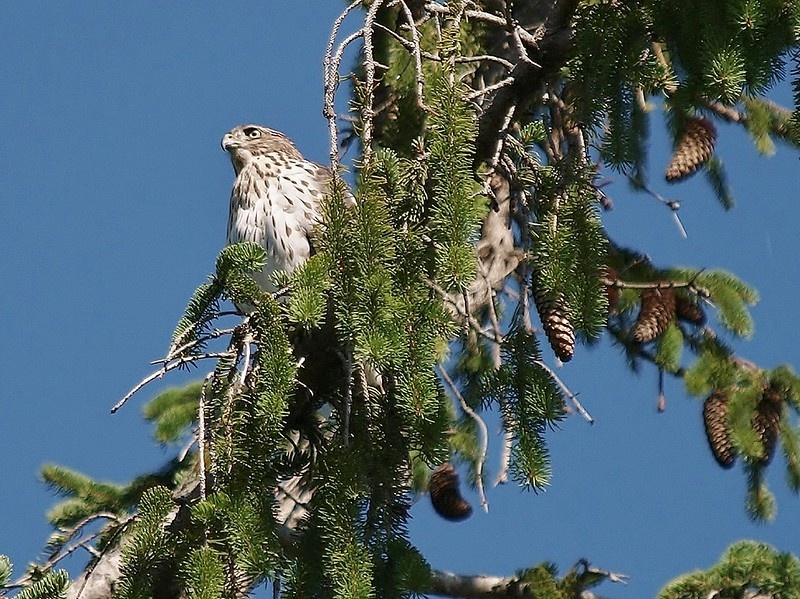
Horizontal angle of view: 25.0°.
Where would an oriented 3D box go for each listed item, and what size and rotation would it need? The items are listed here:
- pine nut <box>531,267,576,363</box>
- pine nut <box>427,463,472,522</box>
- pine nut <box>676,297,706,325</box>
[{"bbox_3d":[0.630,0.075,7.372,0.158,0.425,0.235,-4,-19,3],"label":"pine nut"},{"bbox_3d":[0.253,0.966,8.456,0.159,0.132,0.299,25,-13,22],"label":"pine nut"},{"bbox_3d":[1.364,0.058,8.457,0.135,0.057,0.103,14,-19,48],"label":"pine nut"}]
